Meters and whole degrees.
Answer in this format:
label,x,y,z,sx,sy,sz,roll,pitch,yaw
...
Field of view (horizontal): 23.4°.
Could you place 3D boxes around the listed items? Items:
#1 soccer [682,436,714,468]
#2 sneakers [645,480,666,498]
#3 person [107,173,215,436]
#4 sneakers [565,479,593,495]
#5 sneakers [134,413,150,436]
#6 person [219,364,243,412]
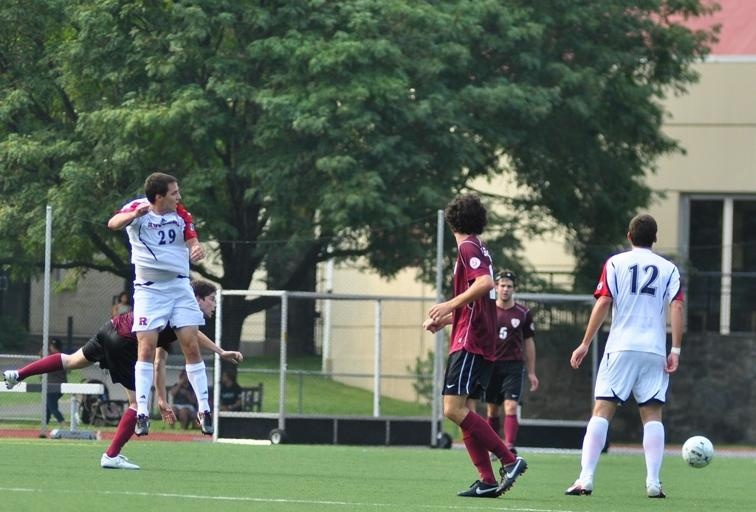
label,x,y,z,sx,sy,sz,roll,pitch,yaw
soccer,5.546,3.379,32.032,0.503,0.548,0.529,1,5,-16
sneakers,4.773,4.016,31.476,0.337,0.285,0.276,1,-8,0
person,-3.683,0.869,31.890,1.358,4.406,0.630,2,-7,-9
sneakers,3.458,3.962,31.411,0.492,0.261,0.201,1,-1,17
sneakers,-4.092,2.917,31.719,0.218,0.336,0.134,2,-7,-6
person,-3.095,2.811,38.100,0.467,0.867,0.504,-24,28,-37
